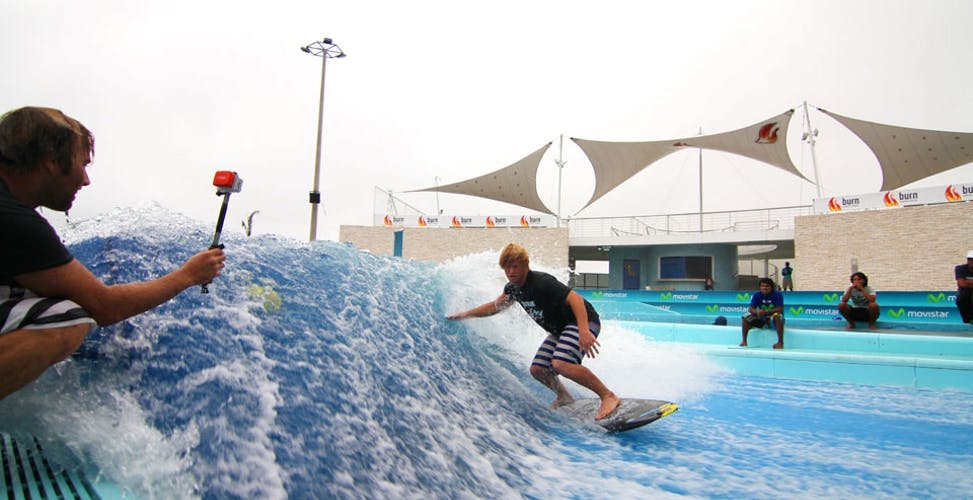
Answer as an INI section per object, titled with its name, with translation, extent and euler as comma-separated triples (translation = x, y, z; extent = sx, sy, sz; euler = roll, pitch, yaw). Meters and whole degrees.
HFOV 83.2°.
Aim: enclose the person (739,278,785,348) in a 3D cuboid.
[person]
translation = 5.447, 1.188, 10.666
extent = 0.779, 1.378, 1.156
euler = 7, 13, 26
